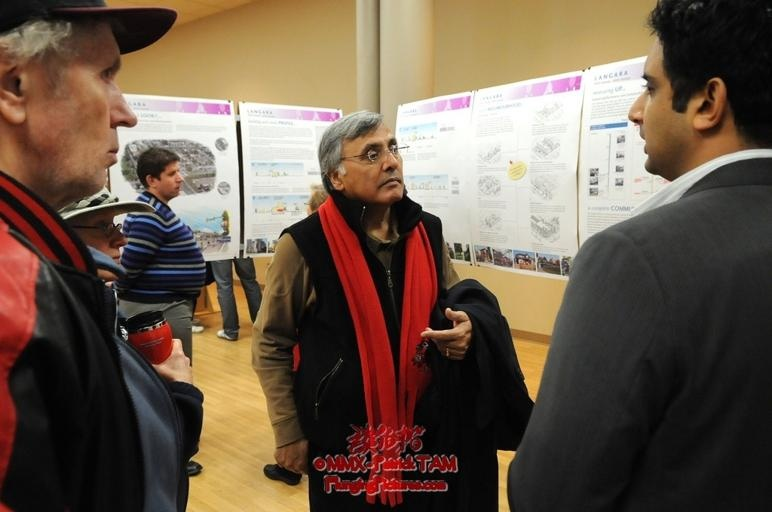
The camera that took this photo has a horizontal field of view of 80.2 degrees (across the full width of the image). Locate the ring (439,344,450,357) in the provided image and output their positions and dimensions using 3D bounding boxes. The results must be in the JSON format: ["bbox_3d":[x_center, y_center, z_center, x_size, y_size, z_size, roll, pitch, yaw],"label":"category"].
[{"bbox_3d":[0.203,0.327,1.576,0.031,0.033,0.024,10,-12,-20],"label":"ring"}]
